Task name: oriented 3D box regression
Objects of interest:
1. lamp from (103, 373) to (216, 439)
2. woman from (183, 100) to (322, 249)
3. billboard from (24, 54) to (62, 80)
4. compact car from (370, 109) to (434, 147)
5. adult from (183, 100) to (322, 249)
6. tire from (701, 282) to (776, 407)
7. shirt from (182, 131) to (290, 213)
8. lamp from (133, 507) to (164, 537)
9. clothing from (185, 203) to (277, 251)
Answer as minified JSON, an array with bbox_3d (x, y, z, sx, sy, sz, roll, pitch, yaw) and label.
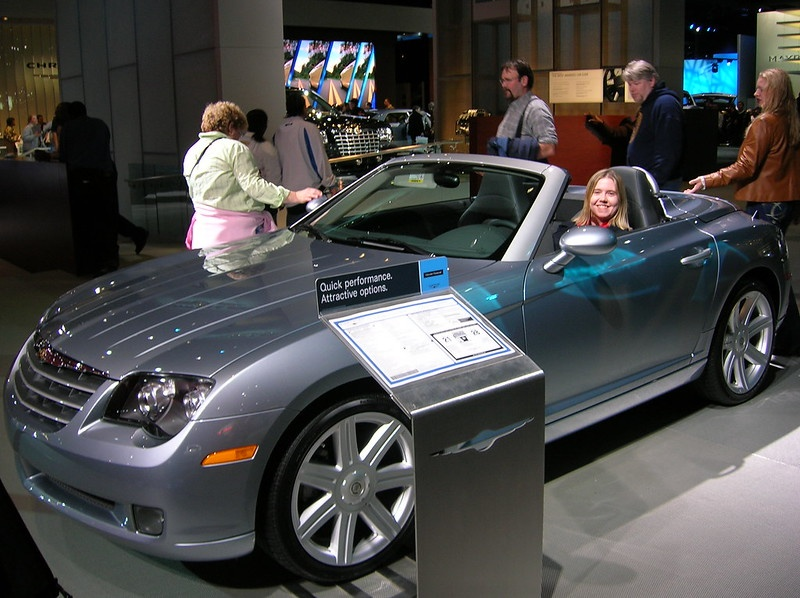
[{"bbox_3d":[-0.894,0.436,2.157,0.331,0.393,0.145,-16,50,0],"label":"lamp"},{"bbox_3d":[-1.298,-0.786,4.535,0.871,1.538,0.876,-1,-2,-36],"label":"woman"},{"bbox_3d":[-19.381,-12.524,29.798,1.426,1.180,0.329,-7,14,-15],"label":"billboard"},{"bbox_3d":[0.013,-6.507,20.462,2.197,1.550,6.622,-3,15,1],"label":"compact car"},{"bbox_3d":[-1.294,-0.782,4.558,0.895,1.507,0.906,-1,-1,-39],"label":"adult"},{"bbox_3d":[2.252,0.294,3.696,0.219,0.909,0.745,9,8,43],"label":"tire"},{"bbox_3d":[-1.265,-1.141,4.224,0.853,0.636,0.552,12,28,29],"label":"shirt"},{"bbox_3d":[-0.950,0.847,2.087,0.089,0.139,0.072,10,27,2],"label":"lamp"},{"bbox_3d":[-1.494,-0.526,4.414,0.467,0.335,0.432,1,3,-16],"label":"clothing"}]
